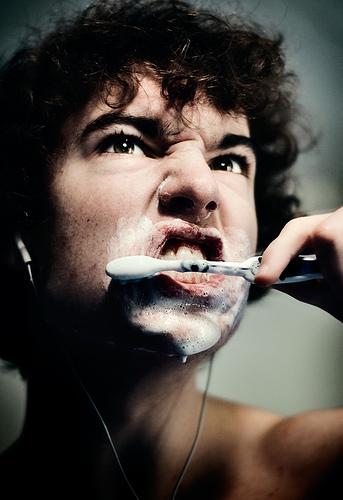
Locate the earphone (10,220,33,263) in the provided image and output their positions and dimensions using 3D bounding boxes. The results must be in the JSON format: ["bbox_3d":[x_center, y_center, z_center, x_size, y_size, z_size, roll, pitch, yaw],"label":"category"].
[{"bbox_3d":[-0.349,-0.025,1.234,0.025,0.034,0.127,-46,54,25],"label":"earphone"}]
